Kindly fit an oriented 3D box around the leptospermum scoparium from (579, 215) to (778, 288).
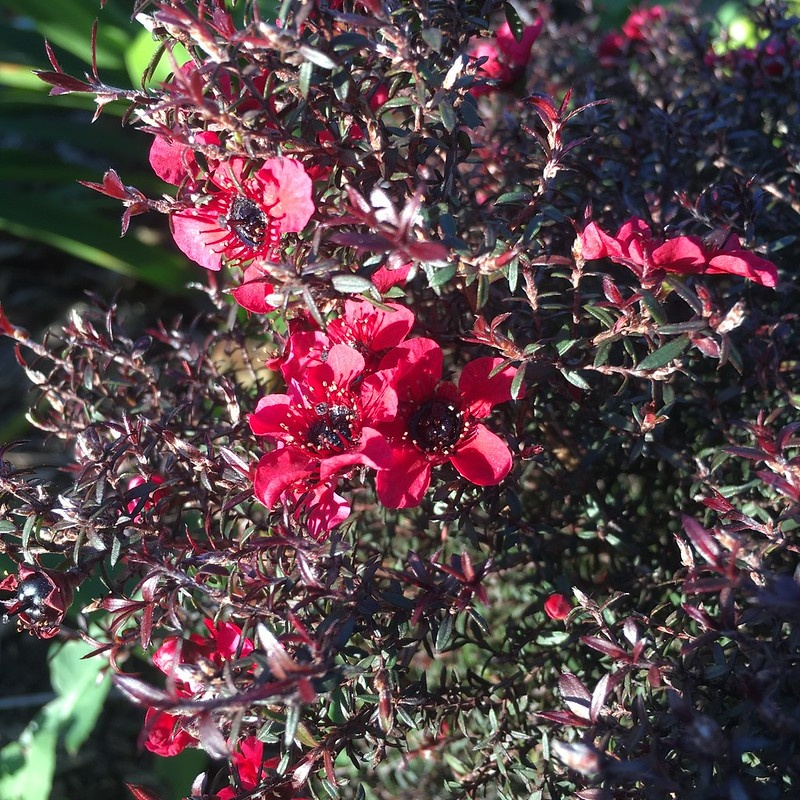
[{"bbox_3d":[0.316,-0.171,1.249,0.149,0.138,0.032,3,99,-33],"label":"leptospermum scoparium"}]
